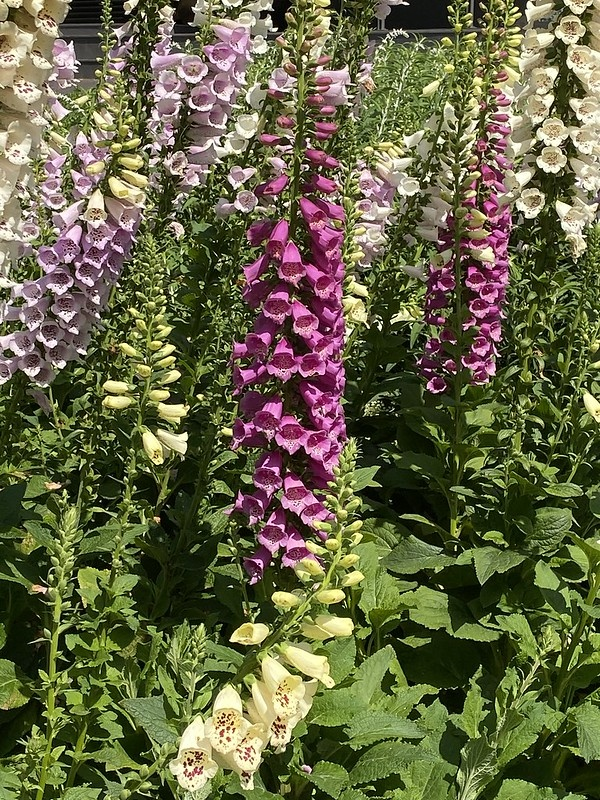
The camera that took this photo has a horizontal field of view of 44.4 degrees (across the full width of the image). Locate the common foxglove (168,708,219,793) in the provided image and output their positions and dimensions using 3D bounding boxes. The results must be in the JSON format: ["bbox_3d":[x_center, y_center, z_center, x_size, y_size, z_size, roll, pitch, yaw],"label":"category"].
[{"bbox_3d":[-0.153,0.518,1.077,0.061,0.100,0.082,17,27,16],"label":"common foxglove"}]

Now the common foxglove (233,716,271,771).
[{"bbox_3d":[-0.078,0.515,1.088,0.044,0.081,0.055,13,27,9],"label":"common foxglove"}]
